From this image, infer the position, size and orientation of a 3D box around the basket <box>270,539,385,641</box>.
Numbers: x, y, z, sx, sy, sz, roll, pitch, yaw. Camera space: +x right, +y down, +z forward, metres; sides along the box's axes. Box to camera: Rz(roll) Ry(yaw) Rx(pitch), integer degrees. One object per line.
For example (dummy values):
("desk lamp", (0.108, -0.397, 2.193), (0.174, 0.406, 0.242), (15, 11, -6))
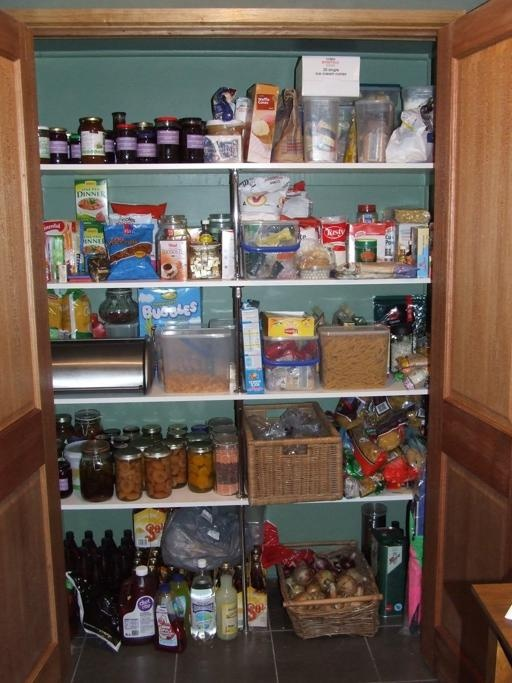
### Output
("basket", (0.285, 0.952, 2.247), (0.336, 0.157, 0.455), (-6, 1, 1))

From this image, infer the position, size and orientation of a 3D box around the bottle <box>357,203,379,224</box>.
("bottle", (0.398, -0.451, 2.114), (0.084, 0.074, 0.082), (0, 5, -4))

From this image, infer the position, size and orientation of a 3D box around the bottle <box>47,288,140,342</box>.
("bottle", (-0.585, -0.117, 2.098), (0.346, 0.172, 0.220), (-2, 13, -10))

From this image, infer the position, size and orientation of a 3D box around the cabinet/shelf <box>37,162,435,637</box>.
("cabinet/shelf", (-0.075, 0.184, 2.037), (1.687, 1.739, 0.534), (-2, 13, -4))

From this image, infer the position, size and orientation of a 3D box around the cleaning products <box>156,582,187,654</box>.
("cleaning products", (-0.298, 0.954, 2.023), (0.116, 0.248, 0.068), (-1, 9, 10))

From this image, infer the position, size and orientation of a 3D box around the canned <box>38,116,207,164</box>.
("canned", (-0.305, -0.633, 1.867), (0.288, 0.138, 0.081), (0, 8, 3))

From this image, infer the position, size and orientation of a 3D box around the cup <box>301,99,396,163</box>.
("cup", (0.297, -0.683, 1.891), (0.245, 0.146, 0.106), (0, 3, -9))

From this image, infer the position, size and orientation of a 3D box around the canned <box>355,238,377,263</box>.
("canned", (0.369, -0.304, 1.965), (0.080, 0.084, 0.078), (-1, 10, 4))

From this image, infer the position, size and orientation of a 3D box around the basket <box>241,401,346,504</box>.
("basket", (0.130, 0.389, 2.084), (0.357, 0.258, 0.397), (0, 8, -1))

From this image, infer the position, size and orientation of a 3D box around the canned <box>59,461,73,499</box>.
("canned", (-0.669, 0.478, 2.065), (0.042, 0.125, 0.103), (-2, 8, -16))
